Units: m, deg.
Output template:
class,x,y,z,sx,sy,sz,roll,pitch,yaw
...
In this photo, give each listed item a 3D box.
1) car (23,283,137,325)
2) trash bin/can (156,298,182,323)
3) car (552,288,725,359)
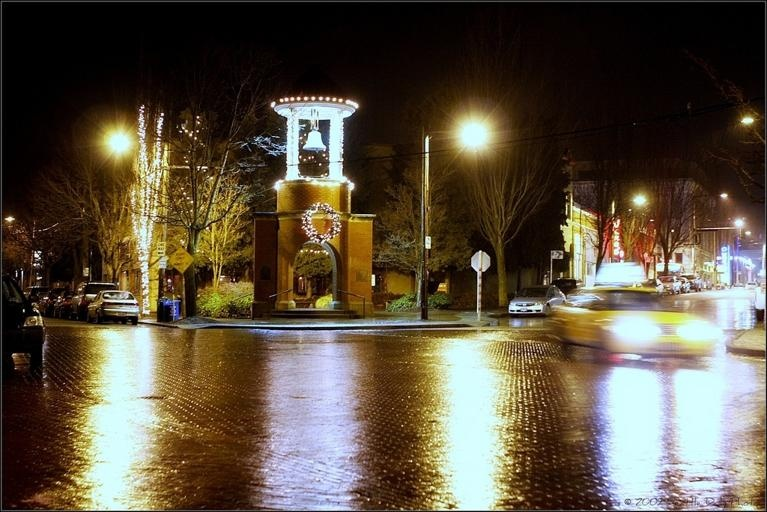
class,x,y,z,sx,sy,sz,roll,pitch,yaw
car,-18.164,3.000,37.800,3.650,2.798,8.397,2,0,-34
trash bin/can,-12.131,3.148,35.526,0.709,1.309,1.346,-2,-3,10
car,7.153,1.897,18.355,2.169,2.013,4.392,2,-6,-28
